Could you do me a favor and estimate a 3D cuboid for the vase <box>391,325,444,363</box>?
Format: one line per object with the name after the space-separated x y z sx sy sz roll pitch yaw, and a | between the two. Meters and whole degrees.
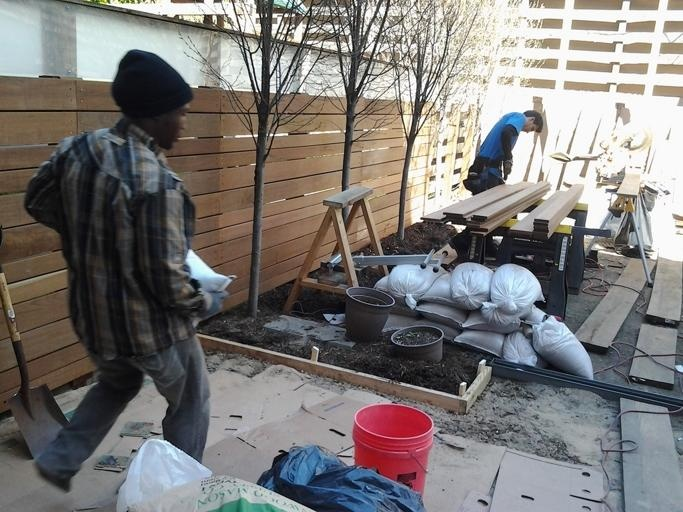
0.717 0.822 4.114 0.463 0.209 0.465 16 21 29 | vase

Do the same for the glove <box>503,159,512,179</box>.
2.648 -1.406 7.190 0.187 0.224 0.066 2 5 -25 | glove

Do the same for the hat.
-0.843 -0.802 1.978 0.372 0.227 0.247 -11 38 -5 | hat

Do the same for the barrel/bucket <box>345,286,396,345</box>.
0.237 0.585 4.445 0.518 0.369 0.480 12 16 -3 | barrel/bucket

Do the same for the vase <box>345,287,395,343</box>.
0.274 0.607 4.510 0.570 0.415 0.555 -5 -18 45 | vase

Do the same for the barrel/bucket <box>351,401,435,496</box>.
0.340 1.089 2.470 0.448 0.404 0.441 3 8 0 | barrel/bucket

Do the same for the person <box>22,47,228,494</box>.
-1.022 0.185 2.120 0.861 2.193 0.480 4 22 -7 | person
